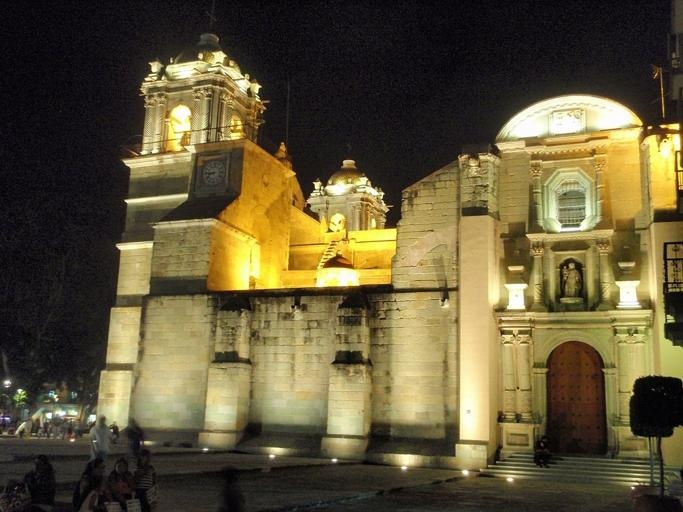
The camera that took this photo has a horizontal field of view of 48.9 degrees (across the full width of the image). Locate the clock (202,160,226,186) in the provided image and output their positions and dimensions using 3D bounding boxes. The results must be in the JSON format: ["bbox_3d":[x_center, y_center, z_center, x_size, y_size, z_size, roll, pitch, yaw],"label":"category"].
[{"bbox_3d":[-7.008,-4.532,41.276,1.205,1.086,1.209,34,9,32],"label":"clock"}]

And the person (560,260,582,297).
[{"bbox_3d":[9.982,0.960,32.571,0.924,1.711,0.386,-1,-16,11],"label":"person"}]

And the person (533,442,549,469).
[{"bbox_3d":[7.973,7.985,29.999,0.726,1.275,0.697,5,-53,12],"label":"person"}]
